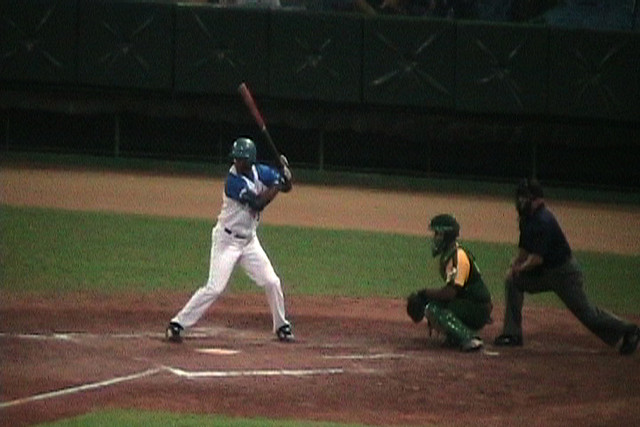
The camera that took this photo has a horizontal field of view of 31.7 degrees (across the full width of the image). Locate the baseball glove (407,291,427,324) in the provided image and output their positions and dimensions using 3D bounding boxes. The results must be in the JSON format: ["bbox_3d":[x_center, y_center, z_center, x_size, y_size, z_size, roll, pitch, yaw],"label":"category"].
[{"bbox_3d":[1.370,1.320,16.072,0.156,0.294,0.380,3,23,-7],"label":"baseball glove"}]

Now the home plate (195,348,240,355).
[{"bbox_3d":[-1.459,1.959,16.128,0.593,0.064,0.169,2,2,-7],"label":"home plate"}]

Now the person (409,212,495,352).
[{"bbox_3d":[1.856,0.955,15.889,1.081,1.890,0.381,2,2,7],"label":"person"}]
